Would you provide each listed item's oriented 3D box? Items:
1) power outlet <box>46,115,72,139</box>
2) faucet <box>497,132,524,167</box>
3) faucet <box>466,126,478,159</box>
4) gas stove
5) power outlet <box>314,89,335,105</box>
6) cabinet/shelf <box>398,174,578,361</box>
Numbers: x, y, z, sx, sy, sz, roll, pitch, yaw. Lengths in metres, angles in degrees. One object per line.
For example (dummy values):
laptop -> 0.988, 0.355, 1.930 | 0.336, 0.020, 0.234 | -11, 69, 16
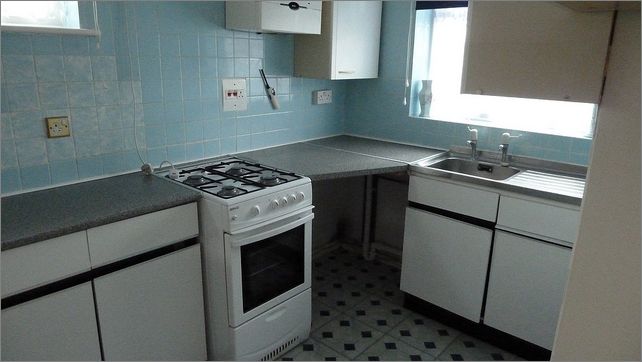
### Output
power outlet -> -1.773, -0.372, 2.772 | 0.167, 0.142, 0.017 | -15, 18, -42
faucet -> 1.579, -0.276, 3.443 | 0.158, 0.267, 0.178 | 11, 24, 22
faucet -> 1.330, -0.338, 3.593 | 0.128, 0.263, 0.192 | 9, 23, 16
gas stove -> -0.690, -0.043, 3.067 | 0.913, 0.052, 0.659 | 16, 25, 35
power outlet -> 0.022, -0.841, 4.107 | 0.046, 0.148, 0.270 | 21, 28, 38
cabinet/shelf -> 1.246, 0.617, 3.001 | 1.339, 0.979, 0.673 | 15, 20, 37
